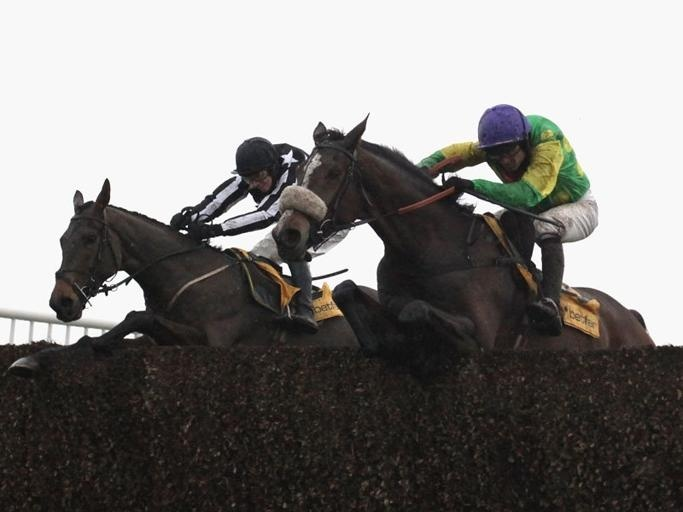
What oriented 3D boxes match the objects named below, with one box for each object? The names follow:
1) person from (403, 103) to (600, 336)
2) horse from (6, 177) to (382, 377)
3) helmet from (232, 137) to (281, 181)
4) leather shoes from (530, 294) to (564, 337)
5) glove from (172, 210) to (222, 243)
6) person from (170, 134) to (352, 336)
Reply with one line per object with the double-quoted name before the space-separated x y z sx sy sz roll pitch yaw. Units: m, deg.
"person" 1.031 -0.234 6.847 1.279 1.225 0.721 0 3 -40
"horse" -0.832 0.480 7.452 0.741 1.409 2.892 -11 -13 36
"helmet" -0.609 -0.655 8.054 0.307 0.319 0.411 3 -18 -13
"leather shoes" 1.113 0.340 6.275 0.131 0.236 0.097 -42 40 -9
"glove" -0.929 -0.179 7.172 0.182 0.084 0.179 -11 31 -42
"person" -0.463 -0.174 7.974 1.306 1.190 0.589 -3 0 -31
